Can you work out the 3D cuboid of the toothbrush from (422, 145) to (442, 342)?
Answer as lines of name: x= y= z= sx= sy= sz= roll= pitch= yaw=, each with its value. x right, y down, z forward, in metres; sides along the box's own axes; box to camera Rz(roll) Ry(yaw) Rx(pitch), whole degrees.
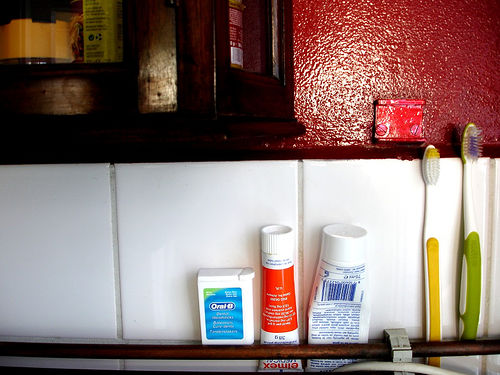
toothbrush: x=0.363 y=0.131 z=1.011 sx=0.036 sy=0.435 sz=0.039 roll=-1 pitch=8 yaw=7

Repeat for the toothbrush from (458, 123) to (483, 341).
toothbrush: x=0.430 y=0.092 z=1.009 sx=0.047 sy=0.444 sz=0.038 roll=0 pitch=7 yaw=0
